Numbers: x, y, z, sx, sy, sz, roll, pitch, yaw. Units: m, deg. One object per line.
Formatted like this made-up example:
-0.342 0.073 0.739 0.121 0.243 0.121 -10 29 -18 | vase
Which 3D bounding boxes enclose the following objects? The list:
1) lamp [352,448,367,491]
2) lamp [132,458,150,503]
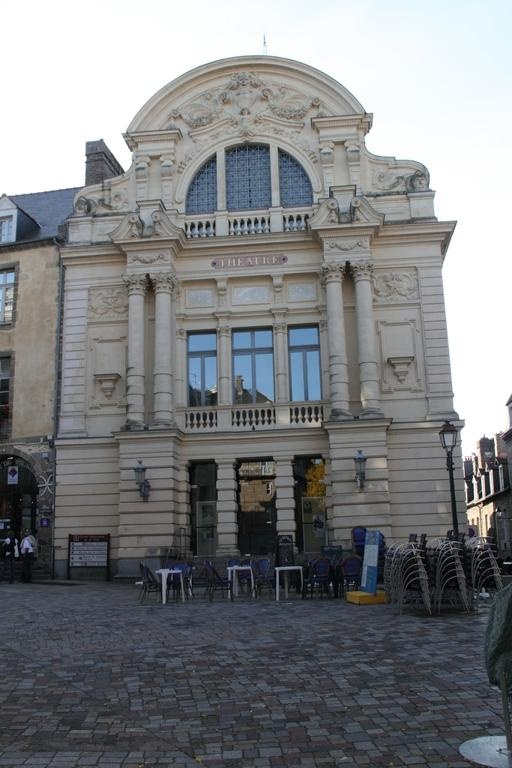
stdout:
3.183 2.598 20.887 0.396 1.237 0.621 -3 -14 8 | lamp
-3.618 3.047 21.528 0.474 1.296 0.729 -2 -14 6 | lamp
